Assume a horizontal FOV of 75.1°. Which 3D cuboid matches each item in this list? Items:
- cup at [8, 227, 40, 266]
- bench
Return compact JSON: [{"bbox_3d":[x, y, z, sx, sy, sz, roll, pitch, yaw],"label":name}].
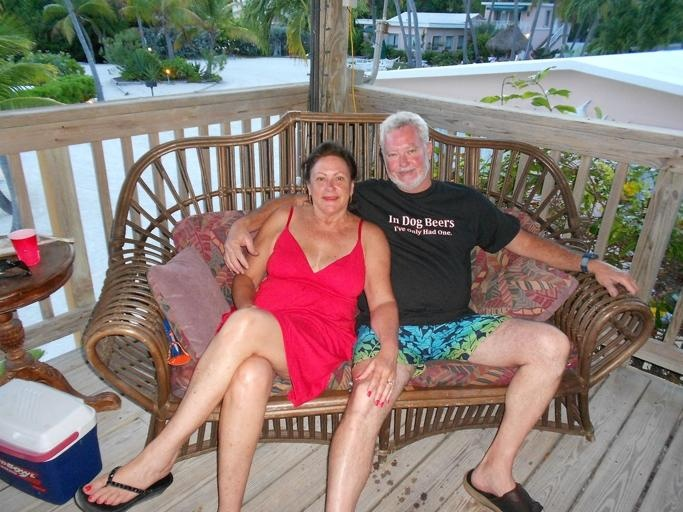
[{"bbox_3d":[-1.268,-0.029,1.778,0.108,0.123,0.105,1,30,-1],"label":"cup"},{"bbox_3d":[0.164,0.148,2.171,2.548,1.225,1.161,-1,33,-21],"label":"bench"}]
